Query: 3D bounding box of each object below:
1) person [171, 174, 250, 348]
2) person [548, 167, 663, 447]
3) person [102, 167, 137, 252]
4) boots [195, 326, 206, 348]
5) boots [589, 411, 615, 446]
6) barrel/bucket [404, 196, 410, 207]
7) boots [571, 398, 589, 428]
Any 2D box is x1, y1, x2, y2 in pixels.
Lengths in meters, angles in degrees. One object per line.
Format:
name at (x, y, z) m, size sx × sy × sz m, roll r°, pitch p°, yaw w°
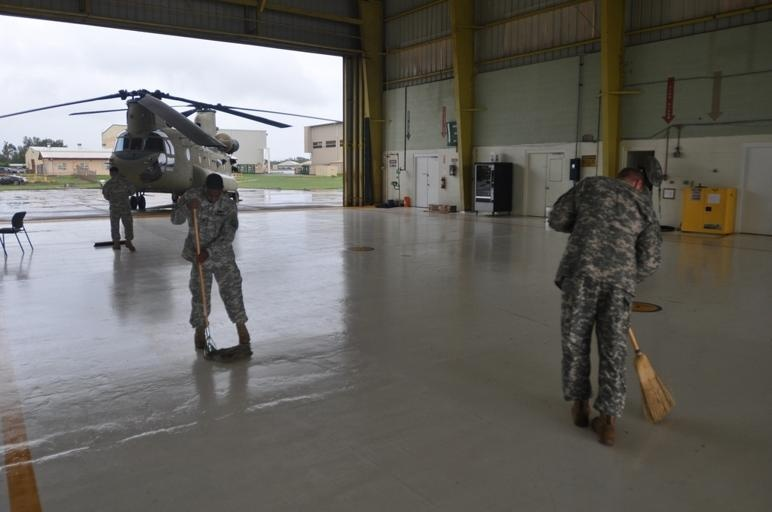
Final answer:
person at (-1.929, 0.073, 5.655) m, size 0.798 × 1.908 × 0.607 m, roll 2°, pitch 12°, yaw -7°
person at (1.766, 0.404, 4.557) m, size 0.948 × 2.227 × 0.879 m, roll 1°, pitch -1°, yaw 2°
person at (-5.871, -1.118, 11.296) m, size 0.608 × 1.717 × 0.477 m, roll -9°, pitch 25°, yaw -33°
boots at (-2.056, 0.916, 5.672) m, size 0.129 × 0.256 × 0.065 m, roll 0°, pitch 1°, yaw -13°
boots at (1.757, 1.368, 4.129) m, size 0.140 × 0.219 × 0.220 m, roll 1°, pitch 10°, yaw 6°
barrel/bucket at (0.958, -2.412, 22.448) m, size 0.363 × 0.571 × 0.376 m, roll -1°, pitch 5°, yaw 0°
boots at (1.621, 1.307, 4.283) m, size 0.114 × 0.232 × 0.242 m, roll 0°, pitch 14°, yaw 9°
